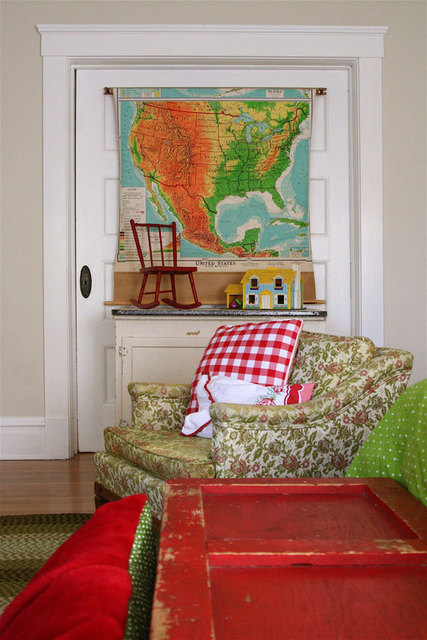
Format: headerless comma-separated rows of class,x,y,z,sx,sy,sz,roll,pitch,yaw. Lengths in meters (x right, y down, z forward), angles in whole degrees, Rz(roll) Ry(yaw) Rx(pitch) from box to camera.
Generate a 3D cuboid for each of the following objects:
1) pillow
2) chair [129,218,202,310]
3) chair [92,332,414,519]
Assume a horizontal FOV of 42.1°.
pillow,0.133,0.179,1.904,0.125,0.405,0.416,28,-28,-30
chair,-0.274,-0.310,3.084,0.431,0.491,0.378,7,6,34
chair,-0.001,0.307,1.861,0.829,0.494,0.819,-7,5,16
